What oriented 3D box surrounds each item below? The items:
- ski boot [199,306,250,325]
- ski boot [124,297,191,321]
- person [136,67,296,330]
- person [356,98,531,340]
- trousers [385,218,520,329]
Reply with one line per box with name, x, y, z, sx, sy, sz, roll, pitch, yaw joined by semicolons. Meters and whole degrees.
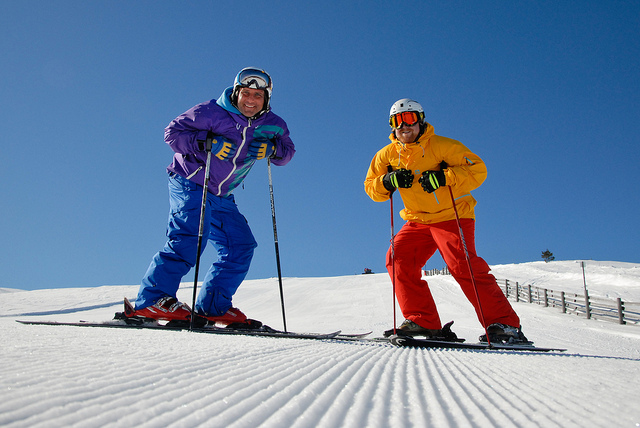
ski boot;-0.988;1.021;4.820;0.348;0.148;0.219;6;-2;-4
ski boot;-1.478;0.879;4.429;0.667;0.261;0.252;0;-3;-10
person;-1.064;-0.166;4.822;1.320;2.567;0.790;3;-7;-8
person;1.056;0.065;4.540;1.186;2.446;0.883;-11;-25;21
trousers;1.162;0.538;4.423;1.033;1.368;0.435;-8;-45;12
